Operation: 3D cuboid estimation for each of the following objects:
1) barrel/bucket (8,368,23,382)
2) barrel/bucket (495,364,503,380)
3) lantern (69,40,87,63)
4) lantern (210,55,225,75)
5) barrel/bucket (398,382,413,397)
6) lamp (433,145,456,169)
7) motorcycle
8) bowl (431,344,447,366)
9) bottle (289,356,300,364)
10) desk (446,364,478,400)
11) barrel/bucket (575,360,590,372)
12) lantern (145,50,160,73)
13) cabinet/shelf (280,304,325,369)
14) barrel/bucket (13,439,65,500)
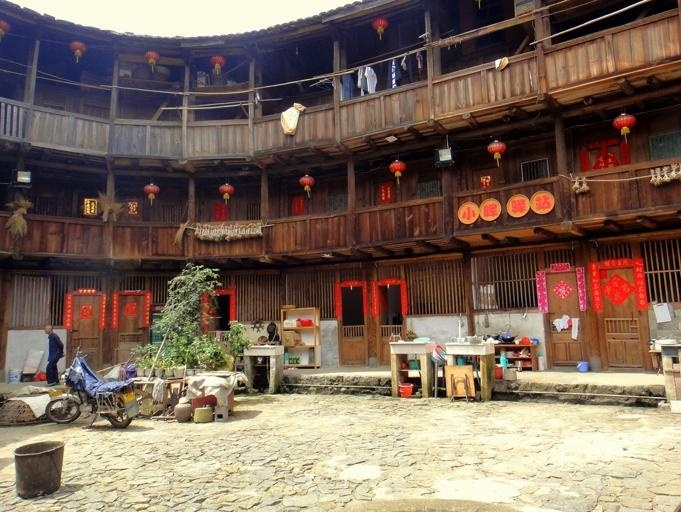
[{"bbox_3d":[-11.320,4.130,18.125,0.413,0.433,0.403,-1,-9,0],"label":"barrel/bucket"},{"bbox_3d":[4.327,3.162,14.234,0.282,0.348,0.249,0,-15,4],"label":"barrel/bucket"},{"bbox_3d":[-9.726,-7.595,19.261,0.542,0.731,0.539,-4,-11,22],"label":"lantern"},{"bbox_3d":[-4.803,-7.485,20.326,0.426,0.567,0.418,-8,-27,9],"label":"lantern"},{"bbox_3d":[1.862,3.830,14.898,0.352,0.248,0.339,0,-11,0],"label":"barrel/bucket"},{"bbox_3d":[3.343,-3.222,16.797,0.572,0.737,0.509,-3,-2,9],"label":"lamp"},{"bbox_3d":[-6.089,3.308,12.631,2.598,1.717,1.236,-4,-3,41],"label":"motorcycle"},{"bbox_3d":[2.731,2.730,14.541,0.456,0.508,0.212,30,-46,-16],"label":"bowl"},{"bbox_3d":[-1.724,3.845,19.410,0.457,0.325,0.244,1,-8,11],"label":"bottle"},{"bbox_3d":[3.310,3.317,14.259,1.016,1.094,0.812,-2,-6,25],"label":"desk"},{"bbox_3d":[7.281,3.285,15.593,0.309,0.249,0.289,4,-11,1],"label":"barrel/bucket"},{"bbox_3d":[-7.140,-7.532,19.793,0.507,0.450,0.547,-2,-2,-19],"label":"lantern"},{"bbox_3d":[-1.467,3.015,19.269,1.361,2.160,0.594,-1,-8,3],"label":"cabinet/shelf"},{"bbox_3d":[-4.946,3.494,8.686,0.804,0.688,0.833,0,-7,0],"label":"barrel/bucket"}]
